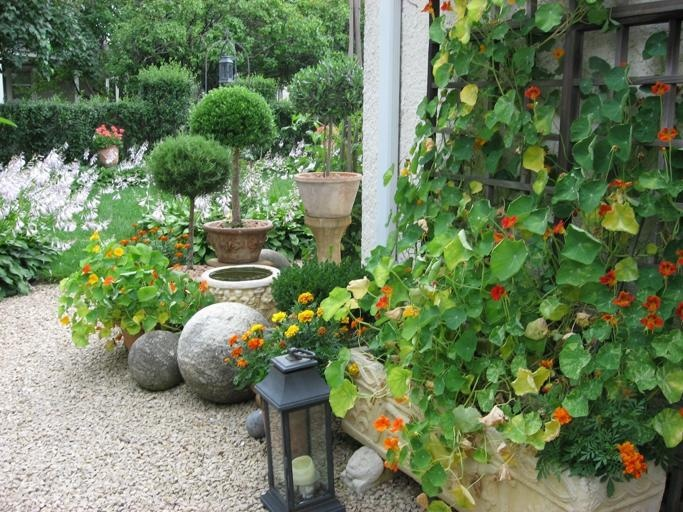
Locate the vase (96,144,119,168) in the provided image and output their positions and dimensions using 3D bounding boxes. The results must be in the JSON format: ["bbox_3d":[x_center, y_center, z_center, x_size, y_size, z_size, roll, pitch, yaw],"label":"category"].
[{"bbox_3d":[-5.201,-2.229,12.807,0.418,0.554,0.431,-6,11,-32],"label":"vase"}]

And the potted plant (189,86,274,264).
[{"bbox_3d":[-0.972,-0.823,5.464,0.783,1.707,0.779,2,10,8],"label":"potted plant"}]

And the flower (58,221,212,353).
[{"bbox_3d":[-1.536,0.094,4.149,0.828,0.709,0.927,6,5,-31],"label":"flower"}]

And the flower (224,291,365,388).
[{"bbox_3d":[-0.322,0.479,3.311,0.550,0.459,0.660,-1,-5,-23],"label":"flower"}]

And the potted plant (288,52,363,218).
[{"bbox_3d":[-0.090,-1.199,5.803,0.894,1.695,1.148,-1,4,-9],"label":"potted plant"}]

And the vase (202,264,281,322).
[{"bbox_3d":[-0.688,0.344,4.204,0.359,0.304,0.401,-4,-1,4],"label":"vase"}]

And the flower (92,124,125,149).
[{"bbox_3d":[-5.196,-2.591,12.820,0.527,0.419,0.595,-4,33,-10],"label":"flower"}]
